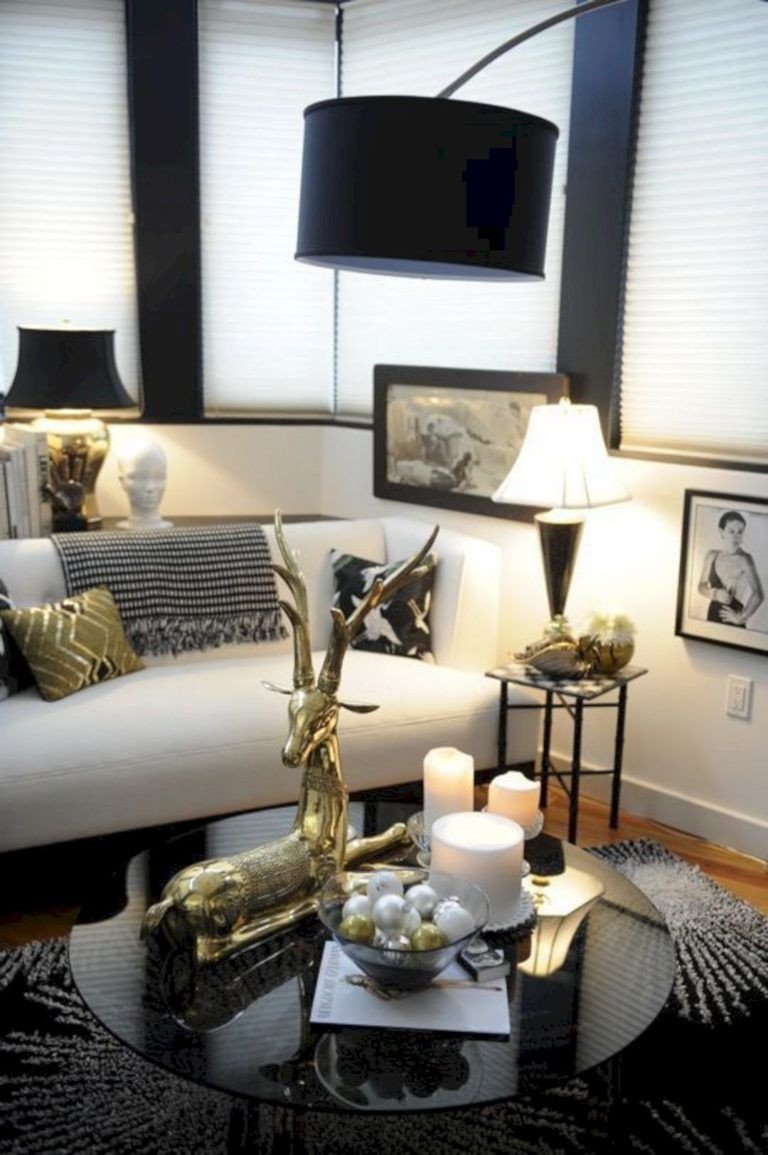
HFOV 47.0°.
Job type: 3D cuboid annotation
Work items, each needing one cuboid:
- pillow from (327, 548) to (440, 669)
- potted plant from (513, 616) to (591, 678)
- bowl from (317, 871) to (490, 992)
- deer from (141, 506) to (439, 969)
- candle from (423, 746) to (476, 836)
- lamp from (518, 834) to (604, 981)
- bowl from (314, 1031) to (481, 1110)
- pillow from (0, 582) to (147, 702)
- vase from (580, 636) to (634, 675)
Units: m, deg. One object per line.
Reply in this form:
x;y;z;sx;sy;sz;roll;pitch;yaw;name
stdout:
-0.032;0.077;2.760;0.361;0.365;0.142;7;33;13;pillow
0.452;0.194;2.315;0.157;0.131;0.078;-6;-12;18;potted plant
0.015;0.428;1.052;0.198;0.101;0.190;2;8;0;bowl
-0.228;0.190;1.476;0.347;0.700;0.632;12;18;34;deer
0.103;0.369;1.441;0.089;0.158;0.095;1;6;20;candle
0.257;0.490;1.293;0.132;0.101;0.140;-2;11;-15;lamp
0.007;0.503;0.895;0.163;0.024;0.137;2;8;3;bowl
-0.803;0.169;2.246;0.079;0.255;0.266;-28;-2;30;pillow
0.592;0.184;2.343;0.113;0.083;0.116;6;11;34;vase
